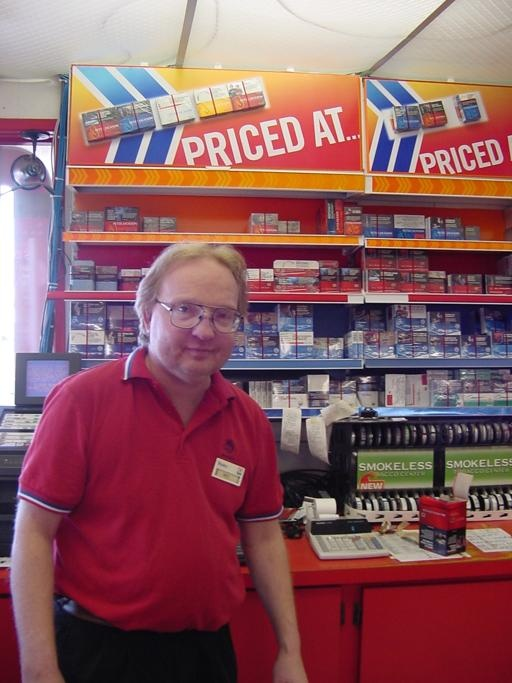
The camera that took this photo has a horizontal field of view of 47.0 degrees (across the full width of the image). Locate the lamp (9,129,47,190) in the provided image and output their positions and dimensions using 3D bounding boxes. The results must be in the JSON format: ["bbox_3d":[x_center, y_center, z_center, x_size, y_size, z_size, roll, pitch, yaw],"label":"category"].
[{"bbox_3d":[-1.289,-1.015,3.401,0.227,0.332,0.139,6,4,44],"label":"lamp"}]

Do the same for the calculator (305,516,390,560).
[{"bbox_3d":[0.311,0.673,2.034,0.304,0.057,0.336,4,3,26],"label":"calculator"}]

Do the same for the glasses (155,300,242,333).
[{"bbox_3d":[-0.107,-0.054,1.245,0.180,0.065,0.134,-1,4,-38],"label":"glasses"}]
